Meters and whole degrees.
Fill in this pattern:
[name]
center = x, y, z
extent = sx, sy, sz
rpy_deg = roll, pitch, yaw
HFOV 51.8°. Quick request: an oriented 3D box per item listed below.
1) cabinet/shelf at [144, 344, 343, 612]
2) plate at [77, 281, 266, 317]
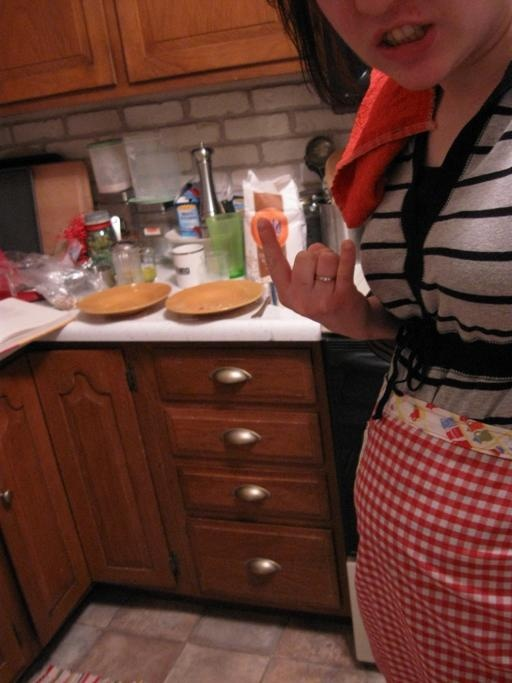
[cabinet/shelf]
center = 0.066, 0.290, 1.587
extent = 0.568, 0.799, 0.591
rpy_deg = -6, 16, 7
[plate]
center = -0.229, -0.106, 1.363
extent = 0.505, 0.056, 0.233
rpy_deg = -2, 21, 20
